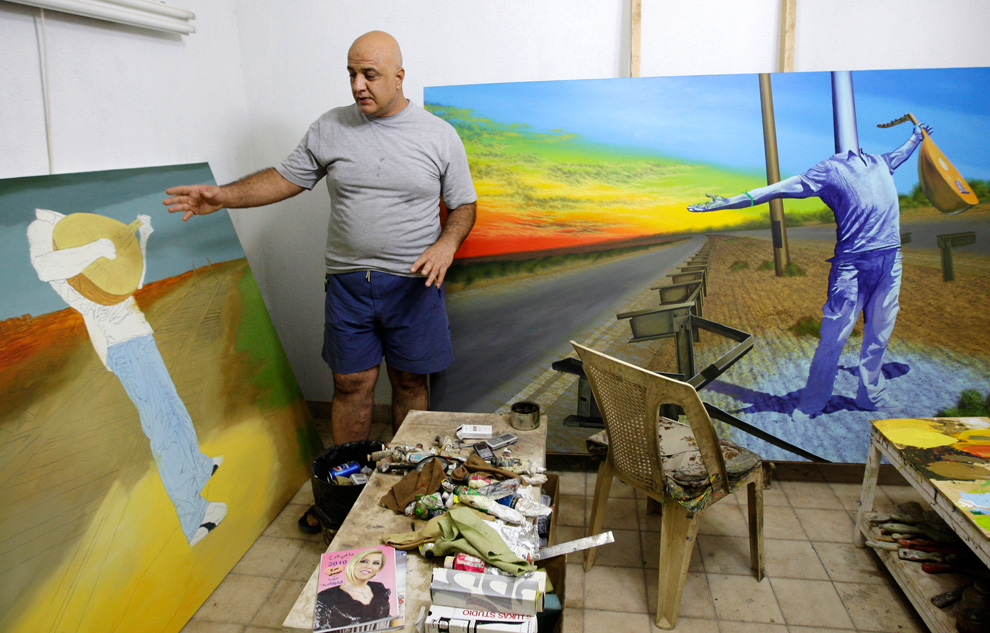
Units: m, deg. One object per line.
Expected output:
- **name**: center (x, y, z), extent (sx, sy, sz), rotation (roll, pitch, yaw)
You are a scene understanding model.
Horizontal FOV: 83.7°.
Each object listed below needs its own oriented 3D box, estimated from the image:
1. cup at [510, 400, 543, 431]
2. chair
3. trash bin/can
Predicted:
- **cup**: center (0.160, 0.511, 2.886), extent (0.151, 0.085, 0.142), rotation (1, 18, 0)
- **chair**: center (0.908, 0.764, 2.791), extent (0.826, 1.253, 0.762), rotation (-13, 24, -32)
- **trash bin/can**: center (-0.753, 0.936, 2.966), extent (0.457, 0.368, 0.507), rotation (5, 23, 3)
